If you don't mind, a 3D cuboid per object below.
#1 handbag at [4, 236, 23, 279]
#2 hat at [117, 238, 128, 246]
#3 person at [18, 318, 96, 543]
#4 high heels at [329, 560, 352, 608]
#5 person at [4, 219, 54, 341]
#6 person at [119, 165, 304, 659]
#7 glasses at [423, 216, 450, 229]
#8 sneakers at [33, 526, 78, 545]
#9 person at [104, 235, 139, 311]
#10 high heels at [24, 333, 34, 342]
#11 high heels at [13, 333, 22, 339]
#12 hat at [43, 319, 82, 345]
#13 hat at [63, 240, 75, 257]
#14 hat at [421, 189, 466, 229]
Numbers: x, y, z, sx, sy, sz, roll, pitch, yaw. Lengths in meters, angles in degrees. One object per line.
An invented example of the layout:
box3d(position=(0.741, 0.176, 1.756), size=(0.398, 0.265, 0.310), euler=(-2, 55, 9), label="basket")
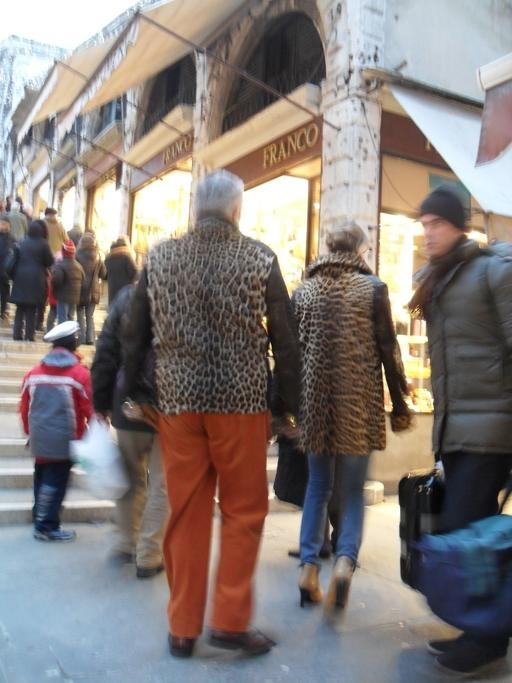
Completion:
box3d(position=(-3.479, -1.265, 8.904), size=(0.196, 0.632, 0.393), euler=(15, -15, -37), label="handbag")
box3d(position=(-1.937, -1.465, 8.994), size=(0.117, 0.128, 0.115), euler=(-9, 13, -42), label="hat")
box3d(position=(-1.245, 0.547, 3.950), size=(0.482, 1.124, 0.316), euler=(1, -2, 30), label="person")
box3d(position=(0.387, 1.109, 2.831), size=(0.093, 0.234, 0.142), euler=(1, -2, 31), label="high heels")
box3d(position=(-3.191, -0.881, 8.773), size=(0.572, 1.458, 0.714), euler=(3, -1, -24), label="person")
box3d(position=(-0.182, 0.270, 2.454), size=(0.598, 1.898, 0.410), euler=(1, 3, -2), label="person")
box3d(position=(0.718, -0.476, 2.483), size=(0.064, 0.043, 0.064), euler=(7, -4, -40), label="glasses")
box3d(position=(-1.240, 1.175, 3.857), size=(0.256, 0.137, 0.099), euler=(-1, 0, -12), label="sneakers")
box3d(position=(-2.057, -0.894, 9.183), size=(0.514, 1.403, 0.408), euler=(0, 30, -11), label="person")
box3d(position=(-3.142, -0.066, 8.577), size=(0.101, 0.132, 0.105), euler=(1, 2, -13), label="high heels")
box3d(position=(-3.260, -0.068, 8.487), size=(0.079, 0.070, 0.086), euler=(0, -3, 0), label="high heels")
box3d(position=(-1.241, -0.069, 3.990), size=(0.169, 0.066, 0.147), euler=(-28, 13, -34), label="hat")
box3d(position=(-2.619, -1.308, 8.651), size=(0.144, 0.188, 0.225), euler=(4, -16, -9), label="hat")
box3d(position=(0.771, -0.542, 2.553), size=(0.123, 0.158, 0.186), euler=(-8, 3, 10), label="hat")
